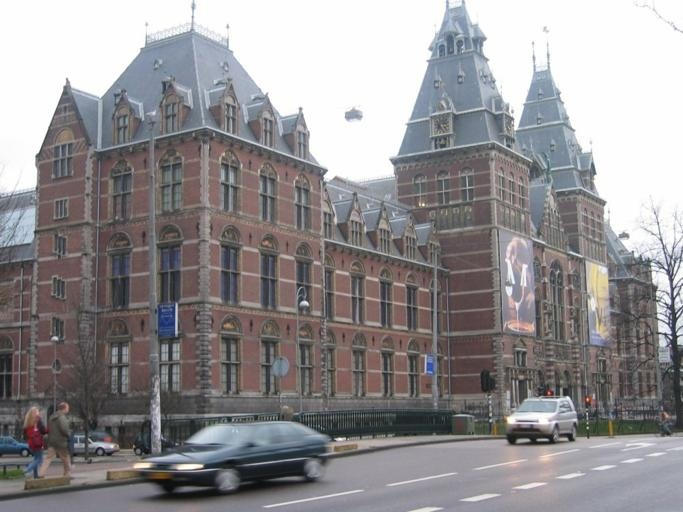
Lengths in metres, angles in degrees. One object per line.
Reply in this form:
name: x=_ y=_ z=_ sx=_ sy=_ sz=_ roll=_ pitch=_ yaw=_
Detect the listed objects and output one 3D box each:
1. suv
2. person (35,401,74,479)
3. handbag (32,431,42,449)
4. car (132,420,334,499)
suv: x=9.469 y=7.756 z=47.339 sx=1.813 sy=2.413 sz=3.979 roll=-18 pitch=-23 yaw=40
person: x=-9.578 y=6.226 z=33.683 sx=1.097 sy=2.547 sz=0.924 roll=-4 pitch=-17 yaw=4
handbag: x=-10.162 y=6.193 z=33.400 sx=0.329 sy=0.627 sz=0.424 roll=-16 pitch=-17 yaw=37
car: x=-3.271 y=6.491 z=32.153 sx=6.003 sy=2.426 sz=1.389 roll=9 pitch=-20 yaw=-33
